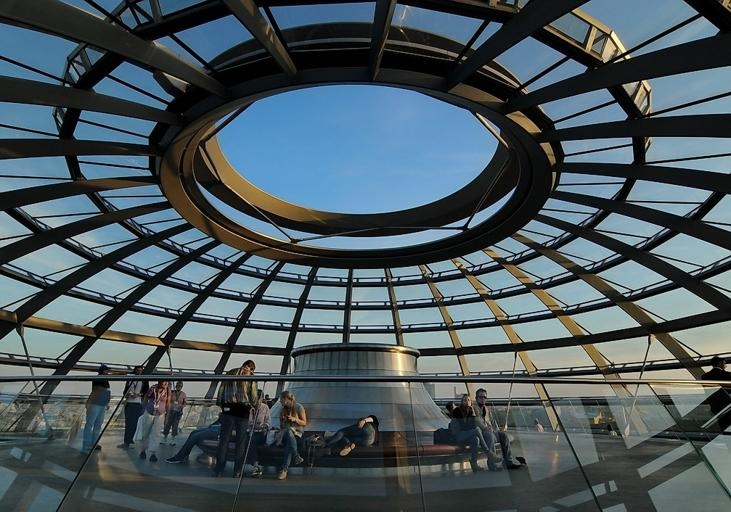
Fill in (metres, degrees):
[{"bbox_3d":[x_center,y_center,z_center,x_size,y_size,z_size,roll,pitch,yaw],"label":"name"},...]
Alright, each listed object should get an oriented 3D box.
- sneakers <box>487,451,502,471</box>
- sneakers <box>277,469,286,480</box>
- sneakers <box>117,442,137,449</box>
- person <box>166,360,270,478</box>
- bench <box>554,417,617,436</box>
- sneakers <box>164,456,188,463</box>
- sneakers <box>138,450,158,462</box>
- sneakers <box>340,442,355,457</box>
[{"bbox_3d":[1.961,3.057,5.296,0.189,0.254,0.066,0,-37,-5],"label":"sneakers"},{"bbox_3d":[-1.250,3.254,5.263,0.081,0.087,0.138,-3,-29,2],"label":"sneakers"},{"bbox_3d":[-3.660,2.849,5.320,0.278,0.095,0.089,7,-21,-5],"label":"sneakers"},{"bbox_3d":[-2.463,2.681,5.706,1.712,2.043,0.826,5,-61,-3],"label":"person"},{"bbox_3d":[3.558,2.653,5.491,1.025,0.252,0.214,9,-37,-19],"label":"bench"},{"bbox_3d":[-2.900,3.079,5.338,0.329,0.113,0.101,9,-41,-4],"label":"sneakers"},{"bbox_3d":[-3.303,2.997,5.309,0.281,0.139,0.053,2,-37,-8],"label":"sneakers"},{"bbox_3d":[-0.263,2.935,5.397,0.238,0.124,0.093,-40,-30,-1],"label":"sneakers"}]
